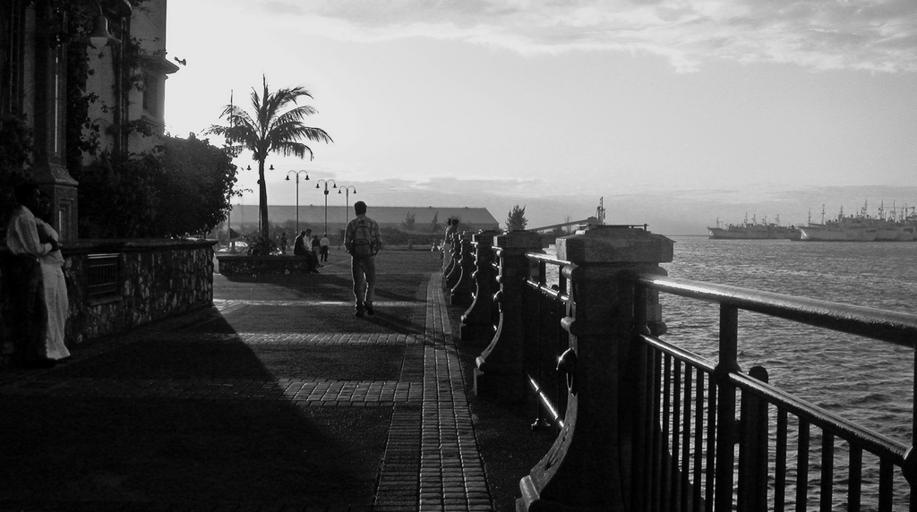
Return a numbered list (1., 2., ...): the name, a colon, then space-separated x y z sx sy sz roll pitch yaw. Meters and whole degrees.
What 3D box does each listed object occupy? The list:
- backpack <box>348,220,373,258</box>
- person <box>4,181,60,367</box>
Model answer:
1. backpack: -2.270 -0.426 18.573 0.617 0.900 0.405 0 9 -8
2. person: -6.848 0.481 12.937 0.735 2.505 0.534 -4 10 -26
